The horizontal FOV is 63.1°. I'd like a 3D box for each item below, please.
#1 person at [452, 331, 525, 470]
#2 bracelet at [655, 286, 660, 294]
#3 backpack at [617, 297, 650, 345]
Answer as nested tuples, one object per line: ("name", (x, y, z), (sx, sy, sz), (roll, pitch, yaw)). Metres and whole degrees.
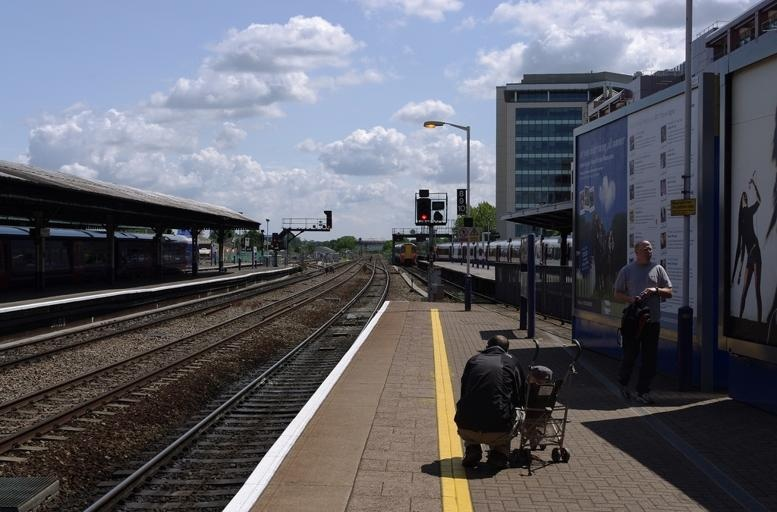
("person", (1.419, 2.053, 8.828), (1.021, 1.763, 0.519), (-3, 6, -7))
("bracelet", (4.625, 0.563, 10.846), (0.059, 0.085, 0.088), (1, 3, 11))
("backpack", (4.219, 1.101, 10.815), (0.259, 0.700, 0.464), (20, -2, -36))
